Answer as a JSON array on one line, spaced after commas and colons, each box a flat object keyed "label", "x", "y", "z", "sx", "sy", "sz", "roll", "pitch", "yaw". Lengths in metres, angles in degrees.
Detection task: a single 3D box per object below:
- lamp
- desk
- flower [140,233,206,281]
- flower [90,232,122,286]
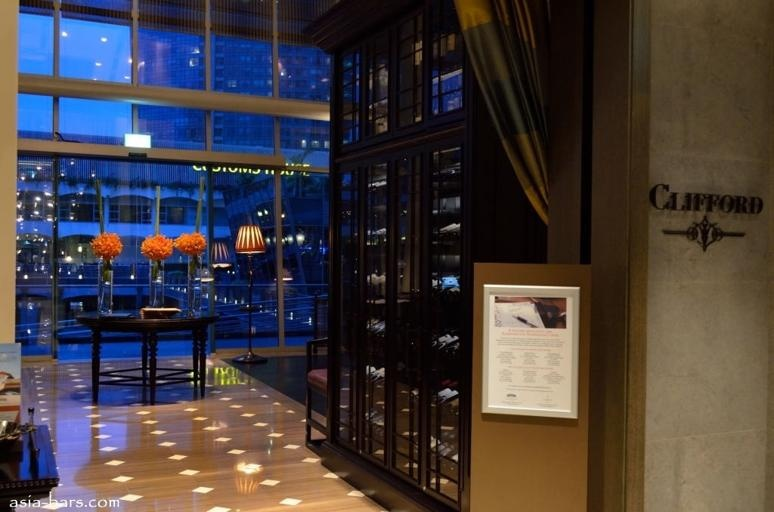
[{"label": "lamp", "x": -2.122, "y": 0.520, "z": 12.228, "sx": 0.482, "sy": 2.177, "sz": 1.023, "roll": -1, "pitch": -2, "yaw": -9}, {"label": "desk", "x": -2.988, "y": 1.217, "z": 9.871, "sx": 1.447, "sy": 1.034, "sz": 1.805, "roll": 0, "pitch": -3, "yaw": -21}, {"label": "flower", "x": -2.707, "y": -0.121, "z": 10.017, "sx": 0.889, "sy": 0.715, "sz": 0.560, "roll": 0, "pitch": 0, "yaw": -27}, {"label": "flower", "x": -3.502, "y": 0.010, "z": 9.923, "sx": 0.344, "sy": 0.624, "sz": 0.636, "roll": 0, "pitch": -2, "yaw": -21}]
